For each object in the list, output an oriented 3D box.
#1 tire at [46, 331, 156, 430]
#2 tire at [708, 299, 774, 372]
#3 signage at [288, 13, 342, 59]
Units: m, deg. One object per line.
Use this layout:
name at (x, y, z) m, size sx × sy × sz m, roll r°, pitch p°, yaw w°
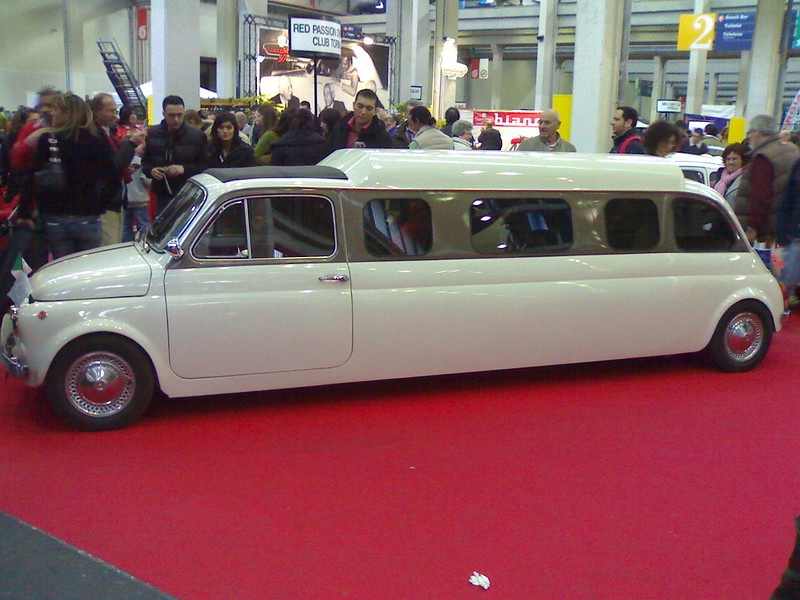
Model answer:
tire at (-2.383, 0.606, 4.438) m, size 0.697 × 0.749 × 0.257 m, roll 4°, pitch 4°, yaw -6°
tire at (3.558, 0.340, 5.896) m, size 0.670 × 0.765 × 0.237 m, roll -4°, pitch 9°, yaw -20°
signage at (-3.514, -11.136, 23.569) m, size 2.608 × 1.567 × 1.067 m, roll -14°, pitch 25°, yaw -38°
